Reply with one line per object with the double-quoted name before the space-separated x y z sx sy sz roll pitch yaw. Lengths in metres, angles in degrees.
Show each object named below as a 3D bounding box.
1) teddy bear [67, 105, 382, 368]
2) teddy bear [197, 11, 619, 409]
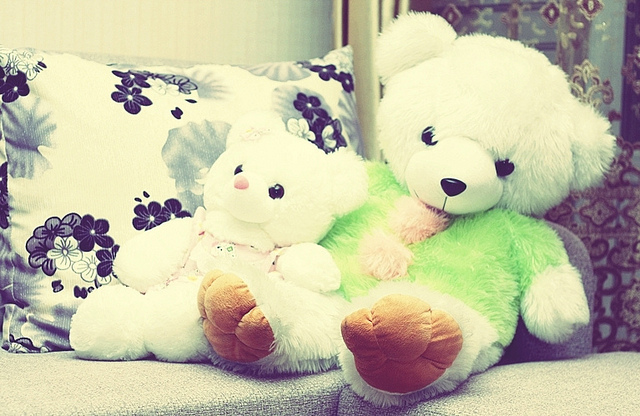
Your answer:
"teddy bear" -0.211 0.067 1.596 0.450 0.637 0.614 6 -11 29
"teddy bear" 0.241 0.003 1.502 0.636 0.694 0.820 21 30 35
